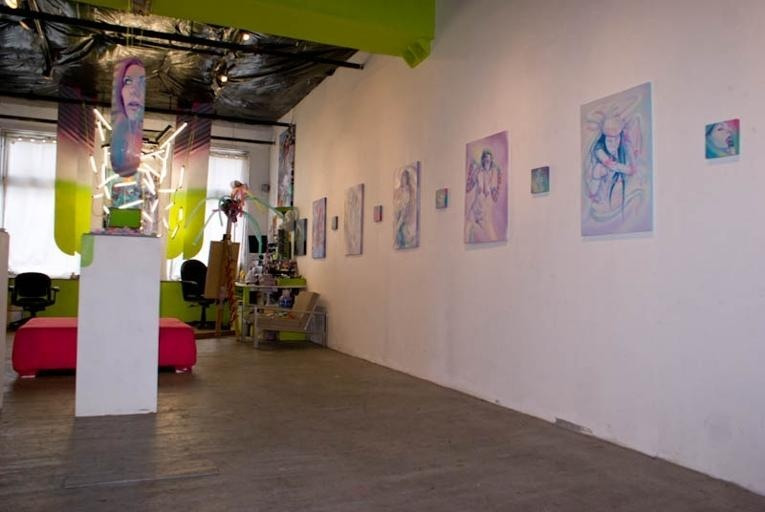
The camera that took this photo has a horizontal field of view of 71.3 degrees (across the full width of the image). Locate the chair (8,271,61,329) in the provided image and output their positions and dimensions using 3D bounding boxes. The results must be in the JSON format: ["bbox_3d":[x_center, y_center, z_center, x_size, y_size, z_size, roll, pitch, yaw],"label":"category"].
[{"bbox_3d":[-6.790,0.838,10.352,0.836,1.116,0.761,3,2,-23],"label":"chair"}]

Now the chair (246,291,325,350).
[{"bbox_3d":[-1.797,1.077,9.652,1.288,0.952,1.157,3,-2,-23],"label":"chair"}]

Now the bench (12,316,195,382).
[{"bbox_3d":[-3.602,1.168,7.067,2.198,0.672,1.583,1,2,-8],"label":"bench"}]
